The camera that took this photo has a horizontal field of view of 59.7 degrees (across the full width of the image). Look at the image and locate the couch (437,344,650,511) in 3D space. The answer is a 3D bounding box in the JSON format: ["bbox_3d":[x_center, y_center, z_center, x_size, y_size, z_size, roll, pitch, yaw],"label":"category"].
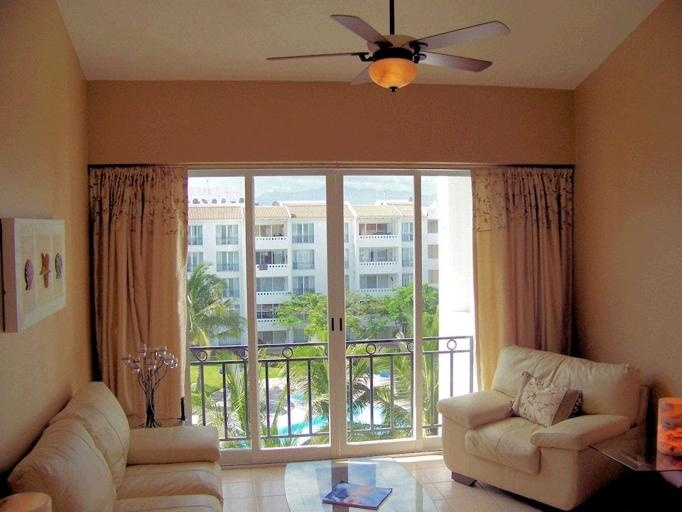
[{"bbox_3d":[1.550,1.310,4.724,1.086,1.177,1.358,5,-7,-34],"label":"couch"}]
